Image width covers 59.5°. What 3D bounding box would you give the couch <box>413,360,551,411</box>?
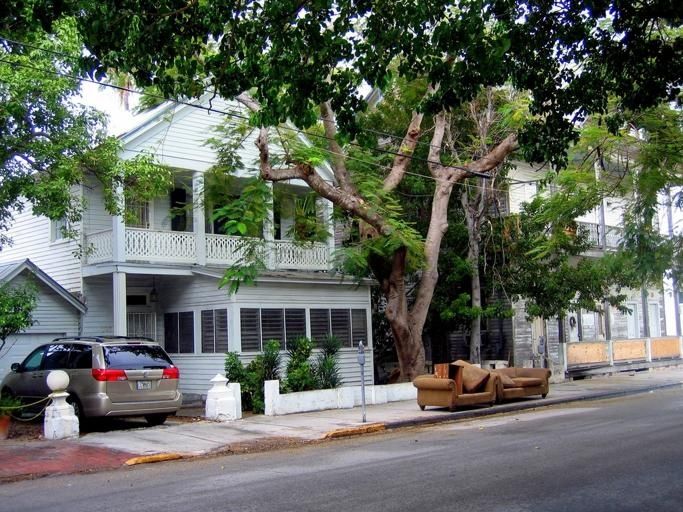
[{"bbox_3d":[4.604,4.093,19.256,5.488,1.420,1.585,6,-11,-38],"label":"couch"}]

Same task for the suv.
[{"bbox_3d":[-7.399,3.346,16.125,6.060,2.110,1.934,-5,-9,23],"label":"suv"}]
